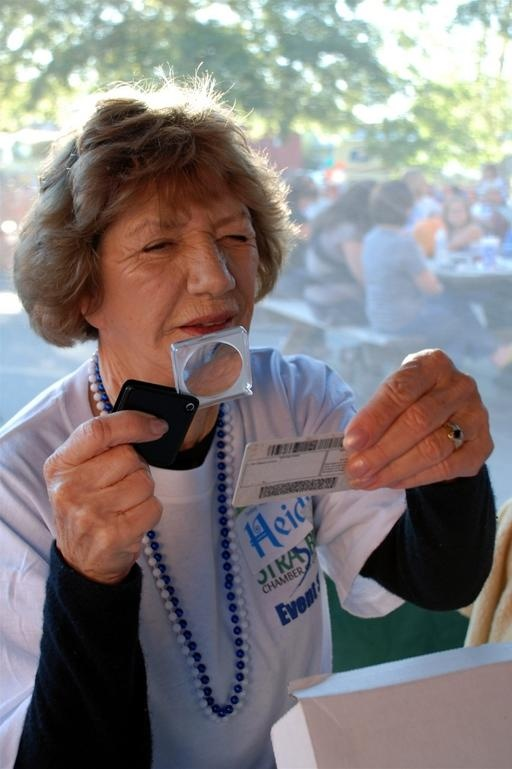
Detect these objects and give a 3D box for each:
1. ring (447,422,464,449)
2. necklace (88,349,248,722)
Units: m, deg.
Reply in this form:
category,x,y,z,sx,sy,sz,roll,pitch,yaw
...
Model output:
category,x,y,z,sx,sy,sz,roll,pitch,yaw
ring,0.312,0.078,1.168,0.028,0.035,0.014,-32,6,-35
necklace,-0.146,0.236,1.388,0.263,0.701,0.034,-20,-11,-3
